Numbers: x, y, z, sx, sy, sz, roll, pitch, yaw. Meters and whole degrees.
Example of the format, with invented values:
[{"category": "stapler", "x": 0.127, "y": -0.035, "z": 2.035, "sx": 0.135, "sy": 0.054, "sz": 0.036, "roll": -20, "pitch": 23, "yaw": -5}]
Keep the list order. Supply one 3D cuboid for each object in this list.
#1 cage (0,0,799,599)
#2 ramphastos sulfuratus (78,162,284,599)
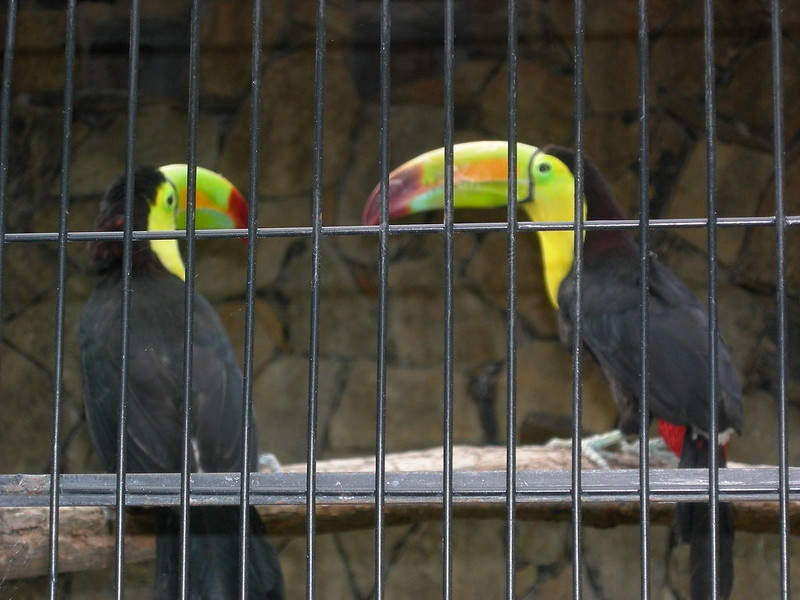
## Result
[{"category": "cage", "x": 0.013, "y": 0.016, "z": 6.210, "sx": 2.114, "sy": 2.057, "sz": 1.135, "roll": 2, "pitch": -11, "yaw": -11}, {"category": "ramphastos sulfuratus", "x": -0.709, "y": 0.233, "z": 6.007, "sx": 0.648, "sy": 1.571, "sz": 0.526, "roll": 1, "pitch": -23, "yaw": -8}]
